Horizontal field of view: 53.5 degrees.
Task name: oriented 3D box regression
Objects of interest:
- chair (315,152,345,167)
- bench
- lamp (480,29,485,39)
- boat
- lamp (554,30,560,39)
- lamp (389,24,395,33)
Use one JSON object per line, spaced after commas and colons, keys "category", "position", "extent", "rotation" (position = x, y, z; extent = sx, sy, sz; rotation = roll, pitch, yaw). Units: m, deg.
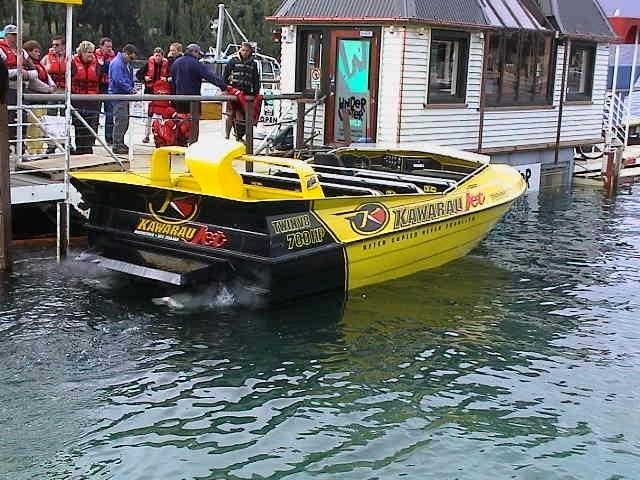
{"category": "chair", "position": [0.177, -1.326, 10.549], "extent": [0.486, 0.103, 0.255], "rotation": [7, -3, -26]}
{"category": "bench", "position": [0.660, -0.889, 9.804], "extent": [3.125, 0.136, 0.803], "rotation": [3, 13, 18]}
{"category": "lamp", "position": [3.760, -4.754, 14.806], "extent": [0.101, 0.162, 0.195], "rotation": [2, 9, 20]}
{"category": "boat", "position": [0.482, -0.393, 9.302], "extent": [6.199, 1.122, 2.896], "rotation": [-7, 13, -36]}
{"category": "lamp", "position": [6.270, -5.415, 16.767], "extent": [0.118, 0.252, 0.418], "rotation": [4, 9, 29]}
{"category": "lamp", "position": [1.489, -4.399, 13.329], "extent": [0.040, 0.174, 0.129], "rotation": [-12, 14, -44]}
